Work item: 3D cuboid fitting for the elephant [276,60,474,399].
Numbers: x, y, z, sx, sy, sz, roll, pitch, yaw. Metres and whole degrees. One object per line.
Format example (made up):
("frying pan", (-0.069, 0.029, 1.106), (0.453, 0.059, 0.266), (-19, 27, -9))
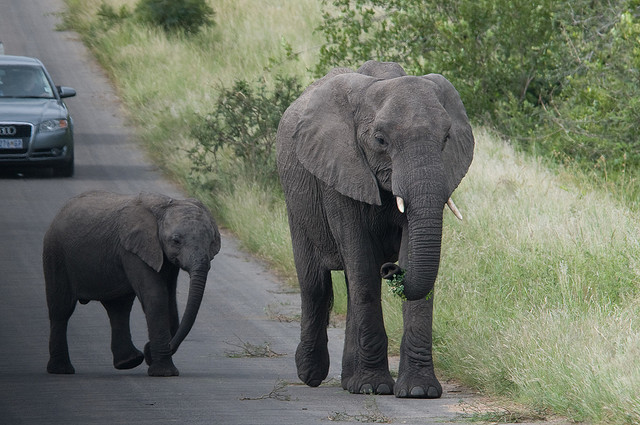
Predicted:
("elephant", (0.598, 0.237, 12.645), (1.334, 3.932, 2.395), (-10, 15, -42))

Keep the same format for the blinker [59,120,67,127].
("blinker", (-4.996, -1.738, 20.831), (0.091, 0.130, 0.046), (1, -20, -10))

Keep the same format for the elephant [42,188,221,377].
("elephant", (-2.414, 0.888, 13.695), (2.611, 2.320, 1.167), (0, 0, 28))

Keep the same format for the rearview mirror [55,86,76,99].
("rearview mirror", (-5.194, -2.449, 21.893), (0.303, 0.213, 0.662), (-5, 13, -23))
